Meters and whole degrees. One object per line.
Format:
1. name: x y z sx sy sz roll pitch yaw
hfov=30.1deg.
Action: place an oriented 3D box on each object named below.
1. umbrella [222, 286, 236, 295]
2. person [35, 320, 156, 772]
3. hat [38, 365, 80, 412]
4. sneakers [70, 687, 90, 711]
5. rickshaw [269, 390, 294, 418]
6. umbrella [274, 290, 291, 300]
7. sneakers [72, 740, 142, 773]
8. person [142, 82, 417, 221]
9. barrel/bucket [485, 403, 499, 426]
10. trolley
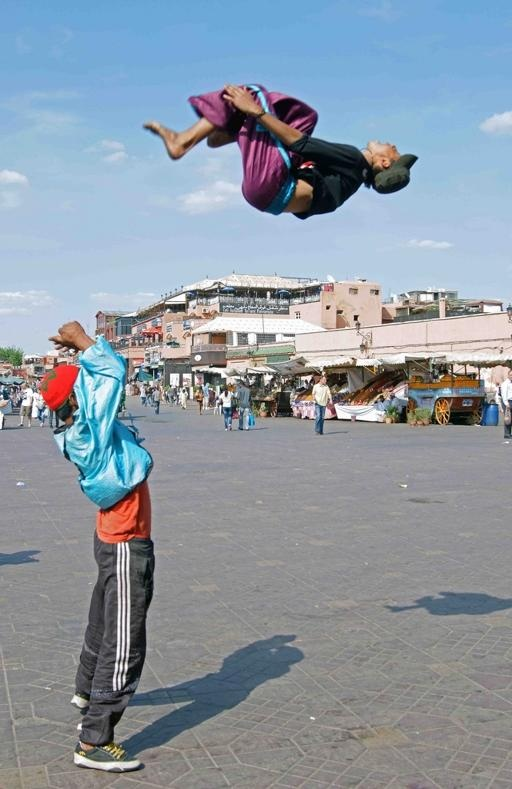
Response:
1. umbrella: -2.411 -9.166 83.810 0.852 0.462 0.768 1 4 8
2. person: -0.659 0.616 4.156 0.473 1.407 0.546 -3 1 -15
3. hat: -0.858 -0.043 4.195 0.164 0.200 0.084 -22 -40 21
4. sneakers: -0.789 1.395 4.351 0.060 0.059 0.148 8 -4 6
5. rickshaw: 1.051 0.428 38.667 0.802 0.775 1.159 1 2 -3
6. umbrella: 2.242 -8.741 83.003 0.994 0.770 1.890 -2 1 15
7. sneakers: -0.615 1.518 4.001 0.310 0.106 0.113 1 -6 -3
8. person: 0.094 -1.136 4.419 1.151 0.513 0.582 24 13 -9
9. barrel/bucket: 7.018 0.587 28.517 0.360 0.609 0.423 -2 1 0
10. trolley: 5.818 0.013 29.298 1.405 1.600 2.355 -1 0 -26
